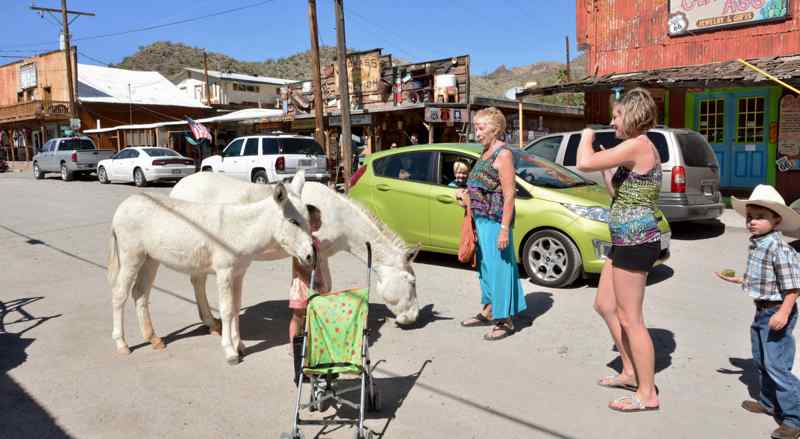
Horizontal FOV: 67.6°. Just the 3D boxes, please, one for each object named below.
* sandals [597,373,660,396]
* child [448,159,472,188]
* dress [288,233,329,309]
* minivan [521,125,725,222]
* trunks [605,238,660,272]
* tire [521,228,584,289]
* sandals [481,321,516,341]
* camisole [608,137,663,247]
[{"bbox_3d":[3.524,2.537,9.209,0.858,0.203,0.322,6,11,37],"label":"sandals"},{"bbox_3d":[1.255,-0.939,12.304,0.596,0.587,0.481,11,16,40],"label":"child"},{"bbox_3d":[-1.463,0.813,9.517,0.565,1.544,0.700,-1,29,-4],"label":"dress"},{"bbox_3d":[5.743,-1.467,15.917,4.771,1.857,2.701,12,13,38],"label":"minivan"},{"bbox_3d":[3.427,0.555,8.710,0.574,0.444,0.445,6,6,14],"label":"trunks"},{"bbox_3d":[3.128,0.792,12.111,1.057,1.066,0.342,-11,-5,33],"label":"tire"},{"bbox_3d":[1.715,1.941,10.462,0.521,0.225,0.259,-4,8,-20],"label":"sandals"},{"bbox_3d":[3.580,-0.448,9.118,0.864,1.693,1.003,1,6,28],"label":"camisole"}]
